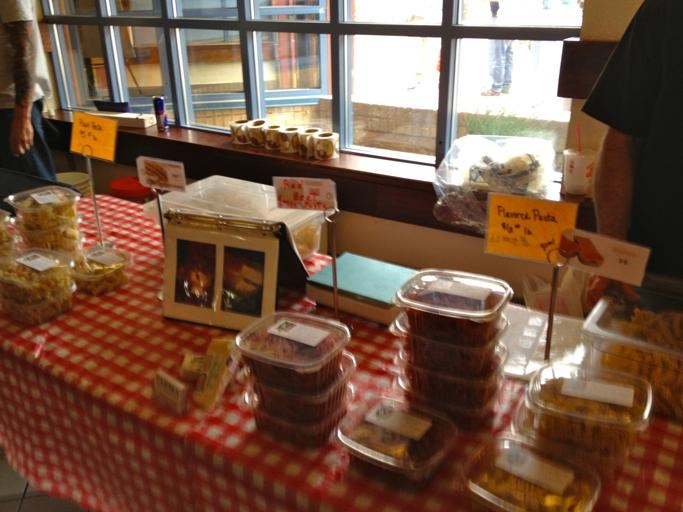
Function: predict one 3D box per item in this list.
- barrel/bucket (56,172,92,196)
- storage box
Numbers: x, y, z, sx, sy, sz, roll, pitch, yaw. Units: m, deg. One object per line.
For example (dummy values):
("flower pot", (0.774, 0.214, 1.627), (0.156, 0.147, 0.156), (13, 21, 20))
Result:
("barrel/bucket", (-1.687, -0.455, 3.283), (0.167, 0.117, 0.433), (-14, 29, -26))
("storage box", (-0.371, -0.190, 1.880), (0.481, 0.152, 0.339), (16, 28, 31))
